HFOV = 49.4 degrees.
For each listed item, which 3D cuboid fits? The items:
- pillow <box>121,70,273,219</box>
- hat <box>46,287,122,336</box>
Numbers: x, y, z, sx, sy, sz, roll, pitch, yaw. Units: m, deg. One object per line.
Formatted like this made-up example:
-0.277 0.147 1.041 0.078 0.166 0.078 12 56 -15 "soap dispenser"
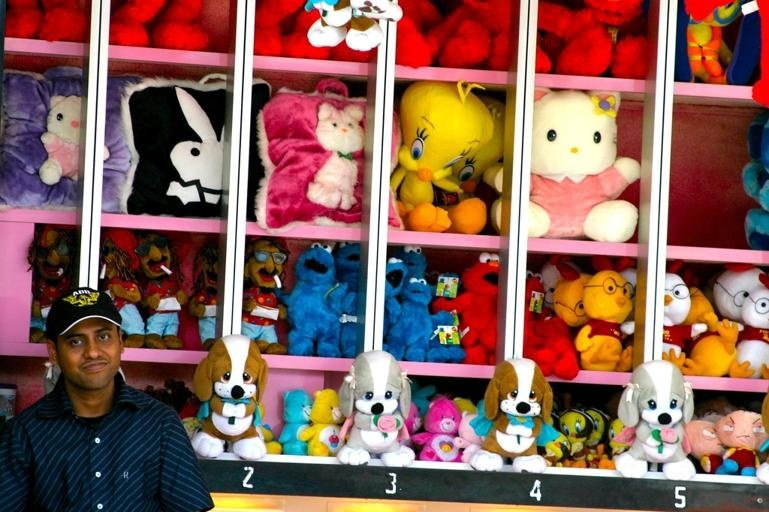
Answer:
-1.126 -0.582 4.496 0.791 0.741 0.235 -3 0 -20 "pillow"
-1.270 0.214 3.481 0.299 0.220 0.392 -4 -10 -32 "hat"
